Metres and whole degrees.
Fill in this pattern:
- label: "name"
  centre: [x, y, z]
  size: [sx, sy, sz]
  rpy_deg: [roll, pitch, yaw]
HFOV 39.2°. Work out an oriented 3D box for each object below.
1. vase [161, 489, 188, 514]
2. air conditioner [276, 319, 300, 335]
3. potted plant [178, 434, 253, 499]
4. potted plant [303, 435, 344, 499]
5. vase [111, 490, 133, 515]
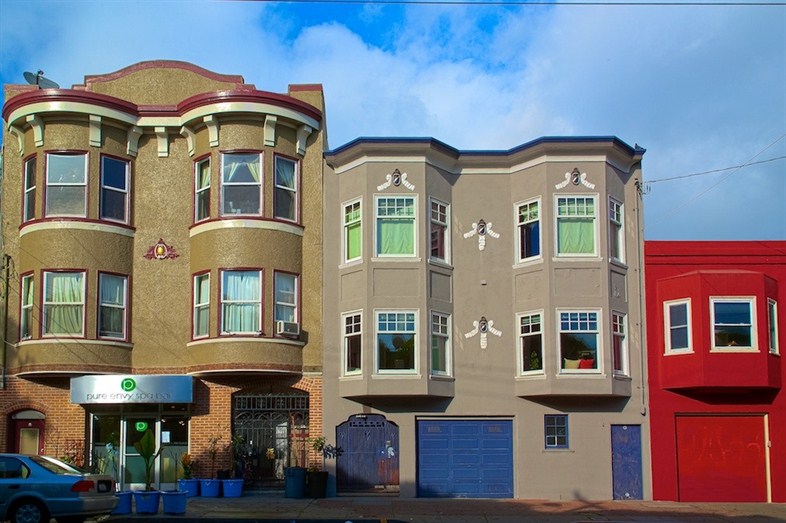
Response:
- label: "vase"
  centre: [-7.544, 8.363, 38.337]
  size: [0.789, 0.611, 0.815]
  rpy_deg: [0, -7, 8]
- label: "air conditioner"
  centre: [-4.062, 2.606, 42.645]
  size: [0.928, 0.521, 0.352]
  rpy_deg: [9, -17, -31]
- label: "potted plant"
  centre: [-6.878, 8.005, 42.801]
  size: [2.370, 2.337, 1.378]
  rpy_deg: [0, -14, -2]
- label: "potted plant"
  centre: [-2.750, 7.946, 42.406]
  size: [1.261, 2.301, 0.828]
  rpy_deg: [7, -16, -27]
- label: "vase"
  centre: [-9.324, 8.249, 37.727]
  size: [0.758, 0.606, 0.784]
  rpy_deg: [0, -13, -2]
